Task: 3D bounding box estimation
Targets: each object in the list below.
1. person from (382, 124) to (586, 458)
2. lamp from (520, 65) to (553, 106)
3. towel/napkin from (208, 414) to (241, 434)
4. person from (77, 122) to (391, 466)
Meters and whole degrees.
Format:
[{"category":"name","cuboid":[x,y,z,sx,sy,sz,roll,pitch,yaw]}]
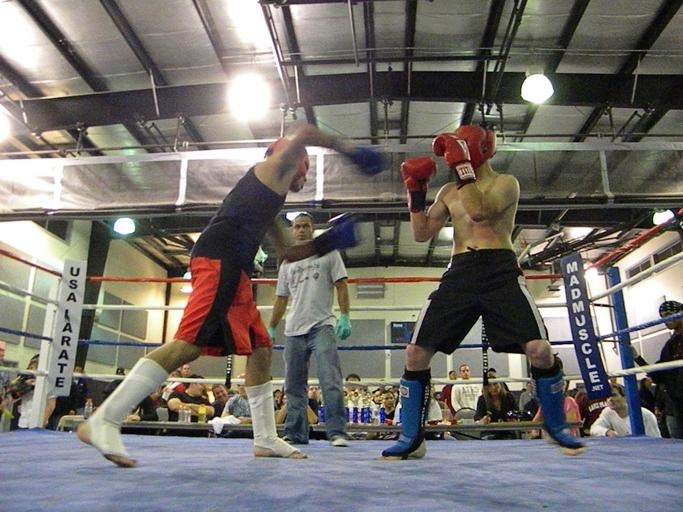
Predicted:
[{"category":"person","cuboid":[0.653,0.122,2.687,0.843,1.810,0.704,-8,-24,21]},{"category":"lamp","cuboid":[2.351,-2.086,6.049,0.302,0.299,0.283,-8,18,-36]},{"category":"towel/napkin","cuboid":[-0.962,1.379,4.181,0.381,0.122,0.320,2,-9,-15]},{"category":"person","cuboid":[-0.331,0.178,2.542,1.122,1.615,0.920,-10,-24,26]}]
